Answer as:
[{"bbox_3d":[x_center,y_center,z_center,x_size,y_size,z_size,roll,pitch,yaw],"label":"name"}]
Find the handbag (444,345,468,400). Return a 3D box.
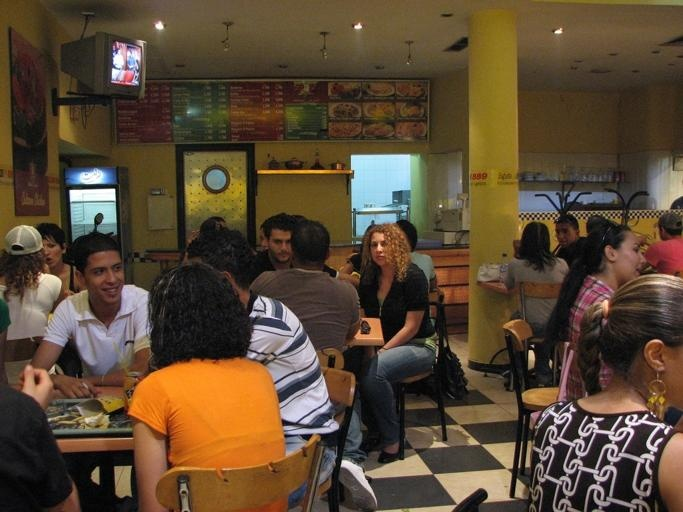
[{"bbox_3d":[0.941,0.981,4.811,0.148,0.466,0.190,0,48,13],"label":"handbag"}]

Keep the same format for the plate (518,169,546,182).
[{"bbox_3d":[2.923,-1.212,8.947,0.432,0.176,0.349,1,7,7],"label":"plate"}]

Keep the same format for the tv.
[{"bbox_3d":[-2.230,-1.744,5.538,0.658,0.537,0.693,5,9,23],"label":"tv"}]

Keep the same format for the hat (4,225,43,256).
[{"bbox_3d":[-1.889,-0.102,3.461,0.144,0.113,0.219,1,14,-7],"label":"hat"}]

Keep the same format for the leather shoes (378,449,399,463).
[{"bbox_3d":[0.292,1.265,3.656,0.116,0.048,0.062,5,6,32],"label":"leather shoes"}]
